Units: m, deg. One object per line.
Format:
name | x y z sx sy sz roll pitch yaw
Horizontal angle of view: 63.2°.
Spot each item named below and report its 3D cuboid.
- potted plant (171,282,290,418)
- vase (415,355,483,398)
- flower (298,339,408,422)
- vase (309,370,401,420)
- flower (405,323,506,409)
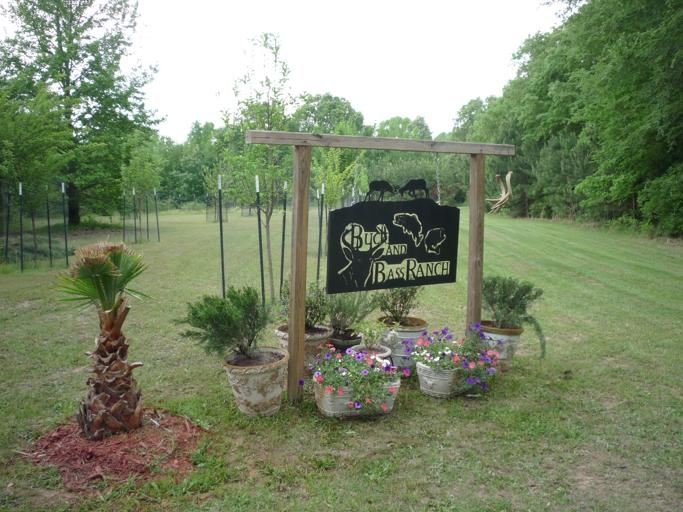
potted plant | -1.444 1.351 7.992 1.339 1.753 0.792 -1 6 -1
vase | 1.569 1.961 8.669 0.601 0.411 0.784 9 -7 -35
flower | 0.187 1.723 8.004 1.035 0.685 0.935 1 -2 -5
vase | 0.303 2.090 8.296 1.489 0.558 0.945 1 -7 -20
flower | 1.575 1.814 8.719 0.916 0.686 0.923 2 0 44
